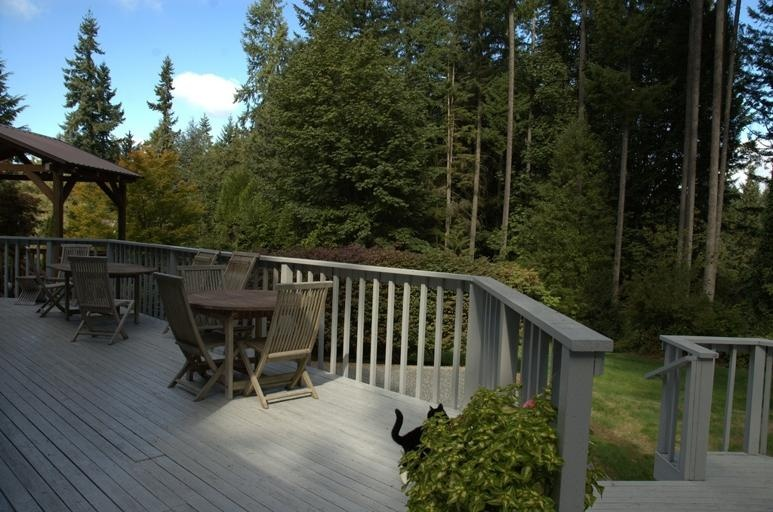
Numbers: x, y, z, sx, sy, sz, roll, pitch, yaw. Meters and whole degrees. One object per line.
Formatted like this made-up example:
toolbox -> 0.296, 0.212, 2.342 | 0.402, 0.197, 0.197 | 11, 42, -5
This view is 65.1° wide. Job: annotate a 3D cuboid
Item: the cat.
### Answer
cat -> 0.390, 2.341, 7.497 | 0.351, 0.908, 1.012 | 20, -26, -33
